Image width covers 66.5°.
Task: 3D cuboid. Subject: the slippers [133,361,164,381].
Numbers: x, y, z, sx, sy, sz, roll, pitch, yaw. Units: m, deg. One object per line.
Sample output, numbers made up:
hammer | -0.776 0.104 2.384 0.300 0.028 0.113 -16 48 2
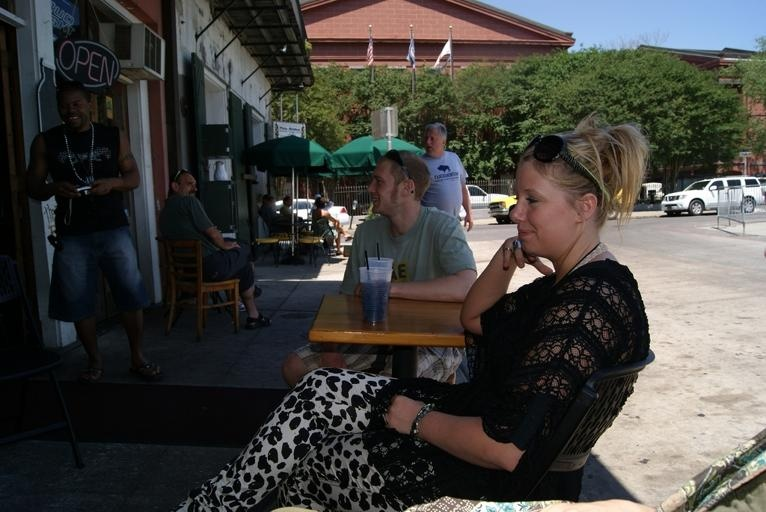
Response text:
slippers | -2.166 1.038 5.357 0.259 0.095 0.139 7 12 34

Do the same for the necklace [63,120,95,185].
necklace | -2.600 -0.877 5.019 0.241 0.456 0.163 -6 14 -28

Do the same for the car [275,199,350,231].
car | -2.812 -1.514 19.872 2.938 0.999 1.395 3 5 2

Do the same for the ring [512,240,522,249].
ring | 0.667 -0.066 2.903 0.049 0.048 0.012 5 -16 42

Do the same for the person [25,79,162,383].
person | -2.562 -0.167 5.134 0.898 2.636 0.679 -7 14 -32

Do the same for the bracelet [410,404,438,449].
bracelet | 0.167 0.725 2.502 0.099 0.174 0.077 1 12 3

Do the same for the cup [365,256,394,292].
cup | -0.016 0.095 3.190 0.167 0.236 0.154 1 -3 0

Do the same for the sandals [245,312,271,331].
sandals | -1.539 0.798 7.226 0.317 0.137 0.135 -9 17 -40

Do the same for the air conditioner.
air conditioner | -3.184 -2.616 7.365 0.601 0.675 0.787 -1 12 -7

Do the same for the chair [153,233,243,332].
chair | -2.143 0.326 6.935 0.760 1.112 0.799 1 3 10

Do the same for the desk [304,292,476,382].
desk | 0.026 0.361 3.153 0.552 0.353 0.565 1 15 0
